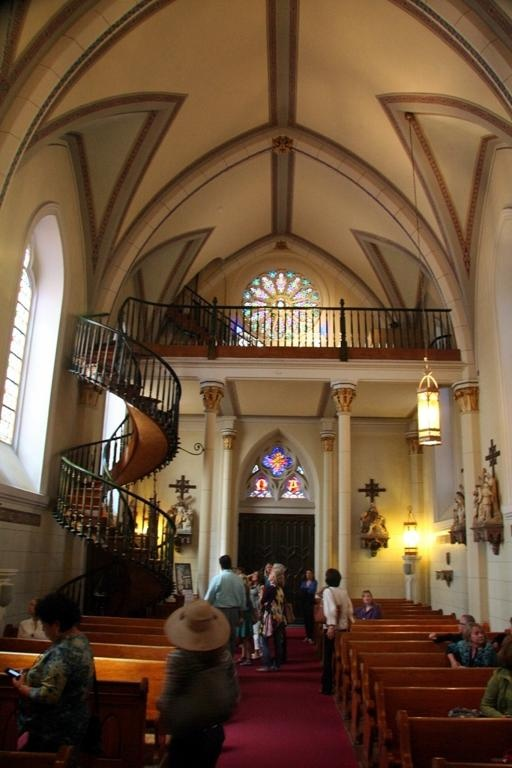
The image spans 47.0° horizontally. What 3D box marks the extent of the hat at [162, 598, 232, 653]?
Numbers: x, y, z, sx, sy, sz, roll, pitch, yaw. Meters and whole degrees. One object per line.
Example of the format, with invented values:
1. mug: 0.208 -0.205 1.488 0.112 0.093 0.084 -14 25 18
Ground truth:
1. hat: -0.251 1.011 2.568 0.302 0.112 0.355 -1 11 -19

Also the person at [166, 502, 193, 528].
1. person: -2.025 3.553 15.835 0.680 0.735 0.364 3 -15 -9

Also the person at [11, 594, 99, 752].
1. person: -0.950 1.357 2.727 0.405 0.722 0.374 5 -15 -14

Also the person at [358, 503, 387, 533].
1. person: 3.107 3.592 15.693 0.576 0.741 0.734 10 -22 -22

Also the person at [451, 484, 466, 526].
1. person: 4.022 2.405 11.676 0.208 0.794 0.627 -3 -16 16

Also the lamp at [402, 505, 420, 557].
1. lamp: 4.073 3.848 15.435 0.384 1.256 0.595 -3 -16 15

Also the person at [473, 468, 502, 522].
1. person: 4.012 1.938 10.152 0.360 1.184 0.611 12 -24 0
